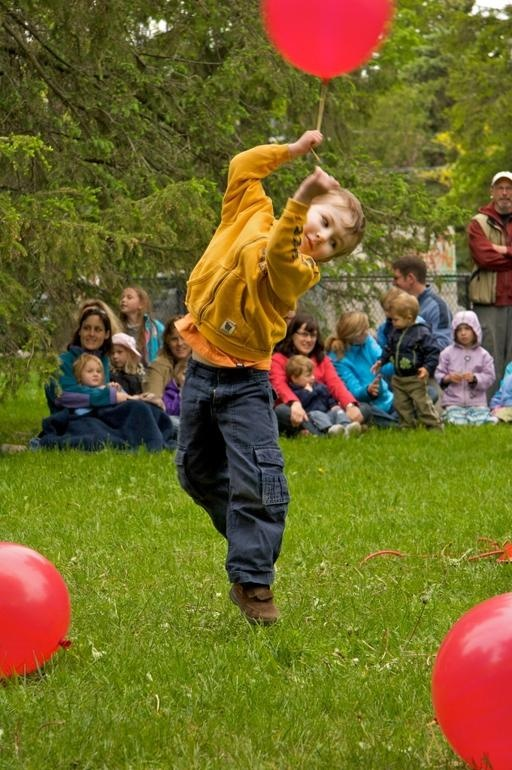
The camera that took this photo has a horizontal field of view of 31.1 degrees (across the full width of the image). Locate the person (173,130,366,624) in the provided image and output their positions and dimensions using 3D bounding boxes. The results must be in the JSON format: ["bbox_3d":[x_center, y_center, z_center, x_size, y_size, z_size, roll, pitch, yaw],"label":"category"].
[{"bbox_3d":[0.033,-0.030,2.951,0.455,1.565,0.686,1,9,-22],"label":"person"}]

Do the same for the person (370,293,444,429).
[{"bbox_3d":[1.314,-0.193,7.656,0.557,1.136,0.342,6,9,16],"label":"person"}]

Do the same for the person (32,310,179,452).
[{"bbox_3d":[-1.209,0.020,6.728,1.057,1.195,1.093,-1,-1,35],"label":"person"}]

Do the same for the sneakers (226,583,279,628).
[{"bbox_3d":[-0.002,0.689,2.869,0.072,0.079,0.192,-1,10,-40],"label":"sneakers"}]

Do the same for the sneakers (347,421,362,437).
[{"bbox_3d":[0.781,0.359,7.298,0.061,0.151,0.070,7,3,-33],"label":"sneakers"}]
